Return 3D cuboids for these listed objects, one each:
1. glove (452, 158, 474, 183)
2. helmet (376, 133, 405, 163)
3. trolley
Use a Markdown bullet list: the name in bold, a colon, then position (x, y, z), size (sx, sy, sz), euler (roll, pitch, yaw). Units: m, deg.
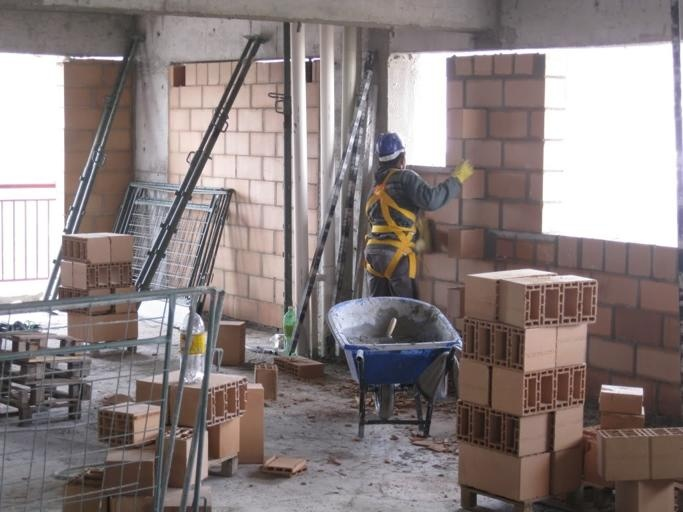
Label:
- **glove**: position (0.969, -0.675, 7.790), size (0.141, 0.198, 0.052), euler (21, -16, -18)
- **helmet**: position (0.396, -0.884, 7.961), size (0.187, 0.221, 0.245), euler (2, 31, 26)
- **trolley**: position (0.359, 0.827, 7.169), size (0.936, 0.985, 1.029), euler (1, 1, -3)
